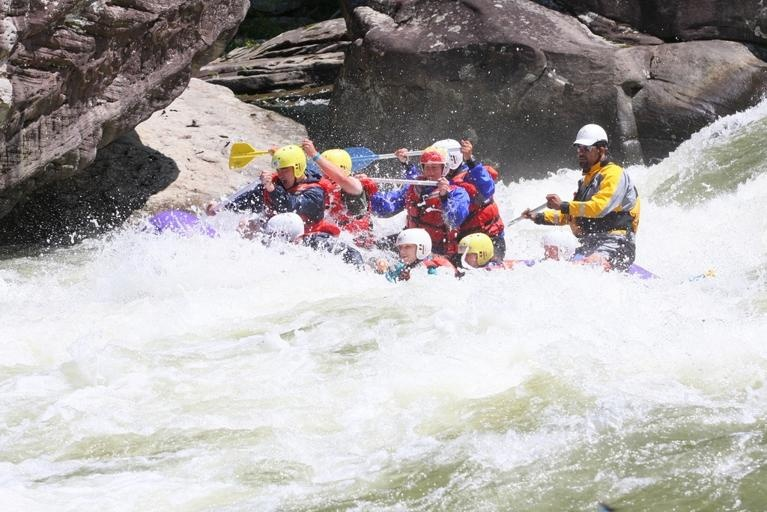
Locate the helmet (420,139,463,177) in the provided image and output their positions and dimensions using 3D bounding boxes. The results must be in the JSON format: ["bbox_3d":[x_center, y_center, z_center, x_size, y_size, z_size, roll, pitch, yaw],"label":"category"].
[{"bbox_3d":[0.788,-1.266,12.710,0.514,0.408,0.365,7,0,-14],"label":"helmet"}]

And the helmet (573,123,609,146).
[{"bbox_3d":[2.509,-1.464,12.214,0.420,0.210,0.303,2,0,-30],"label":"helmet"}]

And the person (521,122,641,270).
[{"bbox_3d":[2.564,-0.780,13.056,1.401,2.176,1.031,12,-35,-9],"label":"person"}]

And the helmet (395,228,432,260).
[{"bbox_3d":[0.305,-0.156,11.674,0.421,0.287,0.288,-12,11,-2],"label":"helmet"}]

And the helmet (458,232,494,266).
[{"bbox_3d":[1.052,-0.076,11.719,0.429,0.290,0.319,1,6,-11],"label":"helmet"}]

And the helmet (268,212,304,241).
[{"bbox_3d":[-1.133,-0.348,11.905,0.409,0.272,0.324,6,16,-29],"label":"helmet"}]

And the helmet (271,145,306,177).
[{"bbox_3d":[-1.146,-1.151,12.394,0.432,0.319,0.340,18,-13,-39],"label":"helmet"}]
